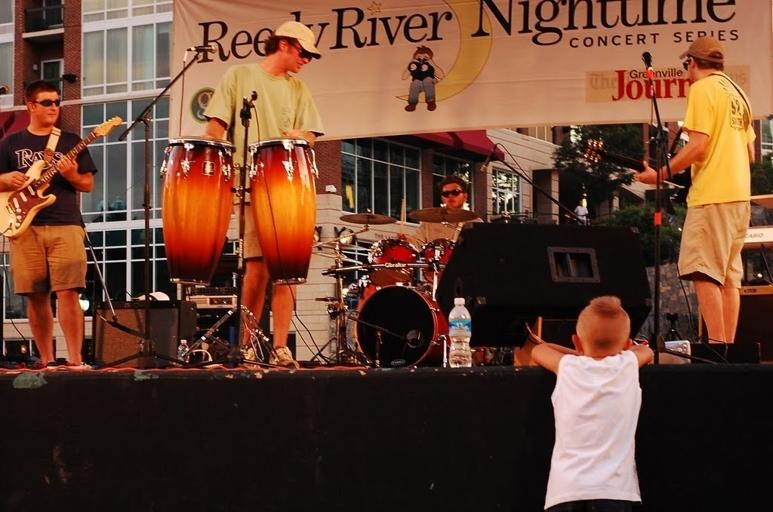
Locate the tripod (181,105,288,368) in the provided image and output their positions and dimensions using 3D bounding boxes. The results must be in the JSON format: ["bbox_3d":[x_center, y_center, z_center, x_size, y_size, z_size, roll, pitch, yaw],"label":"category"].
[{"bbox_3d":[-1.247,-0.214,10.794,0.980,2.255,1.039,3,-1,4],"label":"tripod"}]

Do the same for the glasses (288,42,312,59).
[{"bbox_3d":[-0.748,-1.770,11.196,0.160,0.082,0.122,28,35,27],"label":"glasses"}]

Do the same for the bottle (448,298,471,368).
[{"bbox_3d":[0.582,0.586,10.164,0.180,0.529,0.432,-1,-2,4],"label":"bottle"}]

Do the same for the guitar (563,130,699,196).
[{"bbox_3d":[2.056,-0.833,11.201,0.851,0.184,0.129,4,-12,-36],"label":"guitar"}]

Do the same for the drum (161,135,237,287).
[{"bbox_3d":[-1.577,-0.351,10.852,0.511,1.271,0.547,-1,-2,0],"label":"drum"}]

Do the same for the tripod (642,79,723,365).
[{"bbox_3d":[2.685,-0.445,10.990,0.681,2.191,0.656,-1,3,-26],"label":"tripod"}]

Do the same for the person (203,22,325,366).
[{"bbox_3d":[-1.041,-0.563,11.037,1.186,2.928,0.898,0,-4,2],"label":"person"}]
